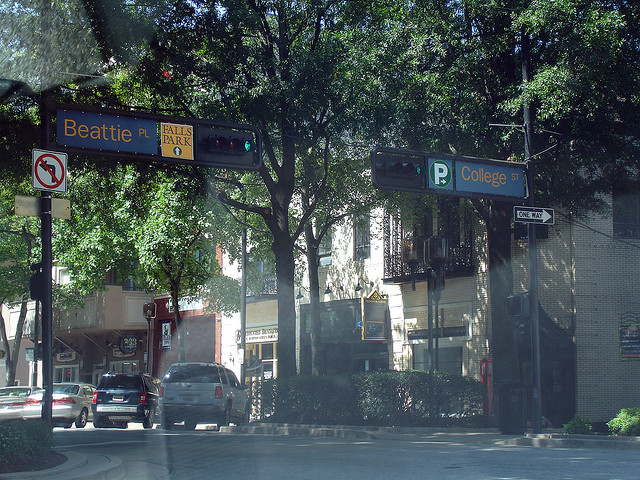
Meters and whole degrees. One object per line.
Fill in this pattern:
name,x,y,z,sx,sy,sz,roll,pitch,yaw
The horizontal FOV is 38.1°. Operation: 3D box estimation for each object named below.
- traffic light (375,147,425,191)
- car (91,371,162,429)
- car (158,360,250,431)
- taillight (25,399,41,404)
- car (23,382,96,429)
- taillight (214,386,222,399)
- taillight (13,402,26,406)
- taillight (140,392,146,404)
traffic light,2.225,-1.996,25.751,1.572,1.112,0.386,5,-11,-32
car,-7.548,6.302,36.933,2.006,2.252,4.862,2,-8,-2
car,-3.806,5.231,31.599,3.167,2.175,1.686,8,-14,-40
taillight,-10.834,6.069,35.096,0.660,0.199,0.238,-7,-12,19
car,-10.241,6.924,38.731,2.029,2.143,5.961,-4,-12,7
taillight,-3.404,5.047,30.912,0.290,0.596,0.053,7,-15,-32
taillight,-11.453,6.193,35.286,0.407,0.117,0.067,1,-10,-15
taillight,-6.623,5.856,34.760,0.262,0.565,0.270,3,-3,-23
